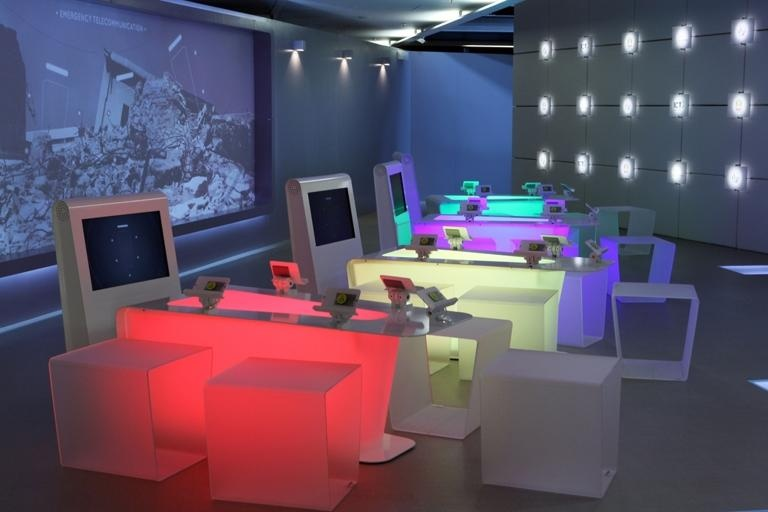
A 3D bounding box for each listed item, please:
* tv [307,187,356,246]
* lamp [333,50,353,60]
[{"bbox_3d":[-0.576,-0.400,5.510,0.051,0.506,0.527,-6,9,37],"label":"tv"},{"bbox_3d":[-0.904,-4.566,12.206,0.265,0.235,0.756,3,14,14],"label":"lamp"}]
